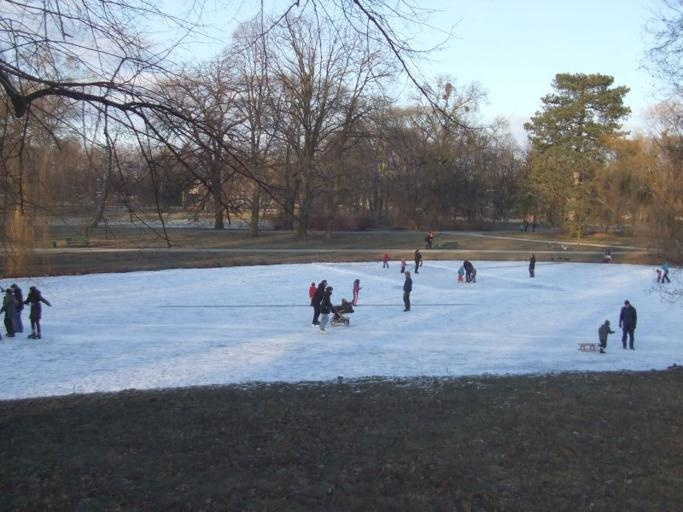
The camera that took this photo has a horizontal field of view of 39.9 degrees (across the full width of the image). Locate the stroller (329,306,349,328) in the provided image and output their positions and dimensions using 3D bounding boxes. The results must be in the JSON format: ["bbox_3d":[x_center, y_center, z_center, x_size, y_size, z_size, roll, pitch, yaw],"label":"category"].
[{"bbox_3d":[-0.140,2.348,36.428,0.783,0.804,0.550,0,4,15],"label":"stroller"}]

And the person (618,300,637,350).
[{"bbox_3d":[10.149,2.390,33.443,0.524,1.684,1.186,0,1,17],"label":"person"}]
